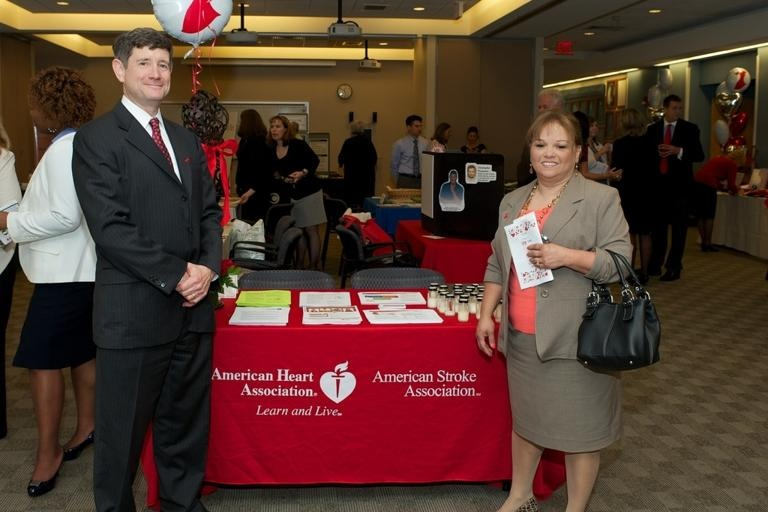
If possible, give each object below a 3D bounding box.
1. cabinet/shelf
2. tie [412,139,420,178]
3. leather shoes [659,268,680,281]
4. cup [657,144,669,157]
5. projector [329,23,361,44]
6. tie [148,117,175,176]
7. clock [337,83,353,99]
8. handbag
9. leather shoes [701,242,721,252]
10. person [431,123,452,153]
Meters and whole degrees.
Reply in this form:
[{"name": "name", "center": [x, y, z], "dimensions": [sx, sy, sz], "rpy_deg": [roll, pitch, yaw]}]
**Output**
[{"name": "cabinet/shelf", "center": [0.793, -0.582, 5.293], "dimensions": [0.662, 1.044, 0.974], "rpy_deg": [-4, 13, -25]}, {"name": "tie", "center": [0.548, -1.645, 9.199], "dimensions": [0.108, 0.569, 0.175], "rpy_deg": [-1, 10, -7]}, {"name": "leather shoes", "center": [4.066, 0.259, 7.877], "dimensions": [0.335, 0.167, 0.142], "rpy_deg": [-3, 8, -16]}, {"name": "cup", "center": [3.652, -1.376, 7.261], "dimensions": [0.136, 0.167, 0.114], "rpy_deg": [4, 12, 16]}, {"name": "projector", "center": [-0.613, -3.460, 8.671], "dimensions": [0.310, 0.232, 0.337], "rpy_deg": [-1, 7, -10]}, {"name": "tie", "center": [-1.037, -0.549, 2.588], "dimensions": [0.056, 0.433, 0.035], "rpy_deg": [-5, -29, -23]}, {"name": "clock", "center": [-1.002, -4.215, 14.186], "dimensions": [0.415, 0.411, 0.115], "rpy_deg": [-3, 11, -18]}, {"name": "handbag", "center": [1.028, 0.245, 2.469], "dimensions": [0.333, 0.489, 0.266], "rpy_deg": [2, 11, 7]}, {"name": "leather shoes", "center": [5.867, -0.156, 9.983], "dimensions": [0.428, 0.215, 0.170], "rpy_deg": [-2, 9, -12]}, {"name": "person", "center": [0.959, -2.050, 9.479], "dimensions": [0.300, 0.454, 0.817], "rpy_deg": [2, 12, 7]}]
